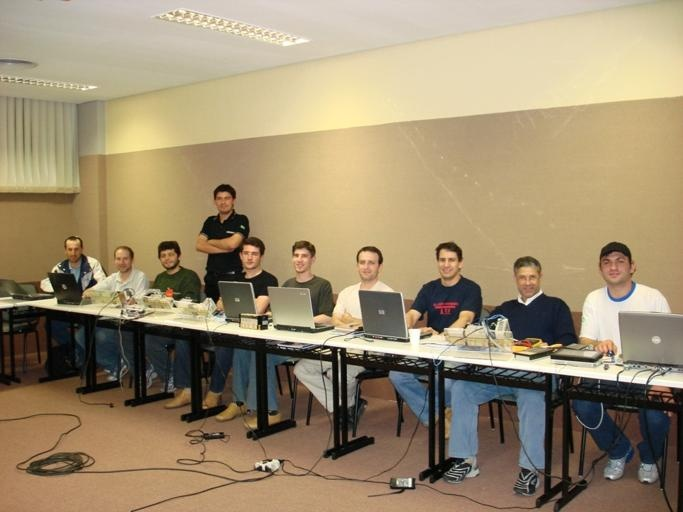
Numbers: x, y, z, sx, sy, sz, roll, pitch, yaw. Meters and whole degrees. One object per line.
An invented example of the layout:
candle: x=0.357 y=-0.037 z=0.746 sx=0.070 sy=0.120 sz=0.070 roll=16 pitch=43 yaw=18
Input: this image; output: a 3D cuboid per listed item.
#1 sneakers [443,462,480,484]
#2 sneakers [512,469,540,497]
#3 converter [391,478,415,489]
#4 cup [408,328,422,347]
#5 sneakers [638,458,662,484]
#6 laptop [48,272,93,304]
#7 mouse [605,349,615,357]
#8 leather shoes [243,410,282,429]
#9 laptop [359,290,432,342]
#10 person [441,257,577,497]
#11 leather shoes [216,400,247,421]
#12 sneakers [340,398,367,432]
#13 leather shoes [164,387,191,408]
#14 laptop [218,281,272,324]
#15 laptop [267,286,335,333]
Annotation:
sneakers: x=0.833 y=1.478 z=3.783 sx=0.283 sy=0.130 sz=0.101 roll=3 pitch=-7 yaw=-36
sneakers: x=1.199 y=1.476 z=3.558 sx=0.096 sy=0.104 sz=0.230 roll=-4 pitch=-9 yaw=31
converter: x=0.416 y=1.523 z=3.676 sx=0.107 sy=0.025 sz=0.078 roll=0 pitch=1 yaw=12
cup: x=0.530 y=0.583 z=3.936 sx=0.094 sy=0.098 sz=0.095 roll=0 pitch=-14 yaw=0
sneakers: x=2.087 y=1.461 z=3.700 sx=0.088 sy=0.098 sz=0.251 roll=-4 pitch=-11 yaw=24
laptop: x=-2.800 y=0.327 z=5.695 sx=0.497 sy=0.354 sz=0.299 roll=3 pitch=7 yaw=34
mouse: x=1.739 y=0.627 z=3.526 sx=0.054 sy=0.018 sz=0.085 roll=1 pitch=5 yaw=21
leather shoes: x=-0.671 y=1.410 z=4.755 sx=0.122 sy=0.146 sz=0.350 roll=-6 pitch=-9 yaw=38
laptop: x=0.406 y=0.397 z=3.980 sx=0.442 sy=0.430 sz=0.344 roll=1 pitch=6 yaw=35
person: x=1.244 y=0.777 z=3.941 sx=0.792 sy=1.498 sz=0.950 roll=2 pitch=5 yaw=26
leather shoes: x=-0.983 y=1.395 z=4.951 sx=0.105 sy=0.121 sz=0.291 roll=0 pitch=-1 yaw=37
sneakers: x=0.118 y=1.325 z=4.627 sx=0.096 sy=0.251 sz=0.189 roll=29 pitch=-29 yaw=-19
leather shoes: x=-1.549 y=1.368 z=5.323 sx=0.130 sy=0.140 sz=0.328 roll=-2 pitch=-5 yaw=34
laptop: x=-0.810 y=0.346 z=4.592 sx=0.410 sy=0.299 sz=0.309 roll=3 pitch=5 yaw=36
laptop: x=-0.341 y=0.379 z=4.356 sx=0.427 sy=0.346 sz=0.367 roll=0 pitch=-2 yaw=35
